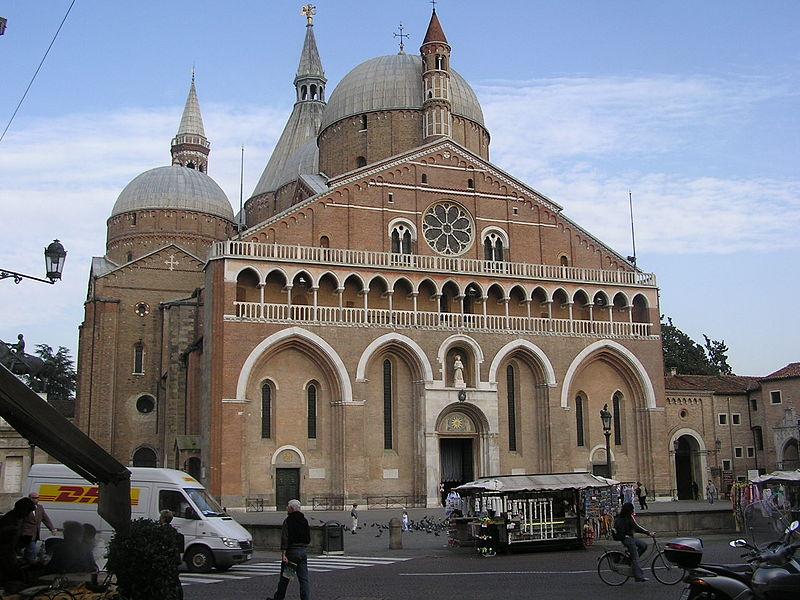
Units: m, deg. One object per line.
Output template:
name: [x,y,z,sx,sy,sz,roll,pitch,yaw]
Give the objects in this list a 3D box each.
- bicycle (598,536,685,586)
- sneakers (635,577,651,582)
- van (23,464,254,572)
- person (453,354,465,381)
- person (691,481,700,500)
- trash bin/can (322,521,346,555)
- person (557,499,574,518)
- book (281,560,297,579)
bicycle: [6.639,7.256,33.175,2.281,1.416,1.191,-1,-8,-9]
sneakers: [6.599,7.602,32.542,0.284,0.126,0.668,-6,-15,17]
van: [-7.210,6.373,35.526,7.542,3.546,3.141,1,-14,-11]
person: [2.855,3.301,58.106,0.441,1.433,0.830,-2,-14,3]
person: [16.467,10.566,66.715,0.335,1.013,0.806,3,-15,-16]
trash bin/can: [-2.201,7.938,39.717,0.749,0.976,0.642,2,-14,-9]
person: [5.588,6.985,40.140,0.535,0.554,0.996,4,-11,2]
book: [-2.773,6.732,29.904,0.386,0.501,0.339,1,-14,-7]
